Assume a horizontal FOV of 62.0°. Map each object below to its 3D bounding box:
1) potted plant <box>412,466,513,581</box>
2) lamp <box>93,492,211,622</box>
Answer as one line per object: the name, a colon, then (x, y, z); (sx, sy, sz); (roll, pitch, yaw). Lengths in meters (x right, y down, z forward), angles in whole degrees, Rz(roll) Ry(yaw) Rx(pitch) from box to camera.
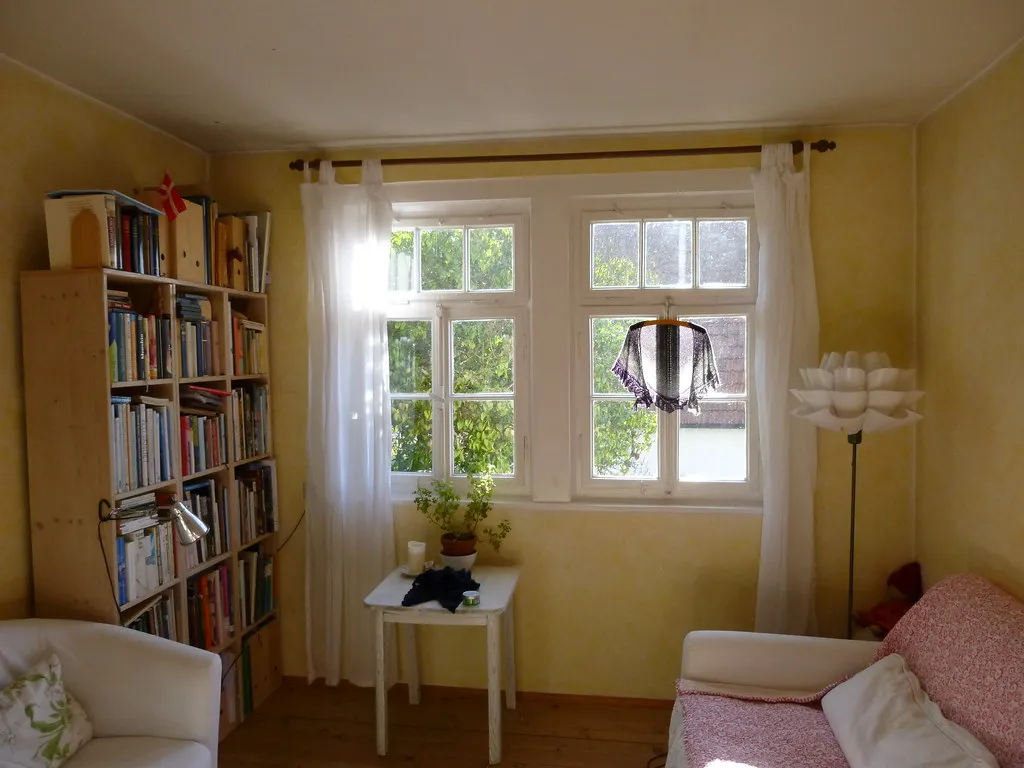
potted plant: (-0.247, 0.695, 4.289); (0.384, 0.494, 0.465); (0, -7, -8)
lamp: (-1.441, 0.739, 3.627); (0.472, 0.552, 0.364); (1, 3, 17)
